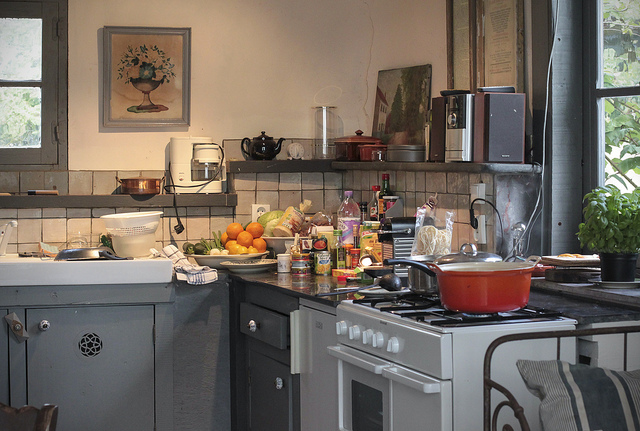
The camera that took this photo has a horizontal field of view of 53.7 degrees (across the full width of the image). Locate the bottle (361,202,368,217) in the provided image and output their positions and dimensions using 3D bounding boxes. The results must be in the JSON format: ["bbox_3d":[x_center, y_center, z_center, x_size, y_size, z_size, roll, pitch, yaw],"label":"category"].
[{"bbox_3d":[0.284,-0.035,4.105,0.039,0.091,0.073,-2,5,10],"label":"bottle"}]

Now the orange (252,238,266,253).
[{"bbox_3d":[-0.396,0.192,4.092,0.082,0.097,0.081,-6,4,-4],"label":"orange"}]

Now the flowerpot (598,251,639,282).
[{"bbox_3d":[1.310,0.230,2.778,0.136,0.102,0.140,-4,-9,35],"label":"flowerpot"}]

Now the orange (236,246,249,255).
[{"bbox_3d":[-0.498,0.227,4.029,0.055,0.051,0.054,-2,6,-4],"label":"orange"}]

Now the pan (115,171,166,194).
[{"bbox_3d":[-1.233,-0.198,4.311,0.246,0.117,0.136,-4,5,-15],"label":"pan"}]

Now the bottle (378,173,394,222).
[{"bbox_3d":[0.413,-0.121,4.038,0.079,0.281,0.198,-2,5,16],"label":"bottle"}]

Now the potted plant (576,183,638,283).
[{"bbox_3d":[1.285,0.084,2.819,0.242,0.425,0.193,-1,5,19],"label":"potted plant"}]

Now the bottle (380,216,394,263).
[{"bbox_3d":[0.356,0.119,3.357,0.064,0.212,0.149,-3,5,4],"label":"bottle"}]

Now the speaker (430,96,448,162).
[{"bbox_3d":[0.656,-0.472,3.481,0.047,0.351,0.154,-5,6,-26],"label":"speaker"}]

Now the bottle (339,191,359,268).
[{"bbox_3d":[0.173,0.072,3.805,0.123,0.425,0.396,-3,5,4],"label":"bottle"}]

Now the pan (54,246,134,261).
[{"bbox_3d":[-1.342,0.234,3.770,0.453,0.087,0.198,-3,5,-1],"label":"pan"}]

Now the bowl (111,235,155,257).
[{"bbox_3d":[-1.166,0.196,3.906,0.170,0.103,0.156,1,-2,0],"label":"bowl"}]

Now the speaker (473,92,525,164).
[{"bbox_3d":[0.944,-0.455,3.320,0.266,0.381,0.101,-4,5,-11],"label":"speaker"}]

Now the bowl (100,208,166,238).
[{"bbox_3d":[-1.185,0.070,4.004,0.392,0.144,0.398,-3,6,0],"label":"bowl"}]

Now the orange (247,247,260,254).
[{"bbox_3d":[-0.431,0.229,4.041,0.042,0.041,0.043,3,16,41],"label":"orange"}]

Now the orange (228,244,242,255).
[{"bbox_3d":[-0.554,0.235,4.077,0.069,0.057,0.058,26,4,-38],"label":"orange"}]

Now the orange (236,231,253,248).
[{"bbox_3d":[-0.494,0.159,4.115,0.101,0.098,0.064,-4,5,-8],"label":"orange"}]

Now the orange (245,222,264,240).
[{"bbox_3d":[-0.432,0.103,4.169,0.106,0.102,0.100,0,-2,10],"label":"orange"}]
